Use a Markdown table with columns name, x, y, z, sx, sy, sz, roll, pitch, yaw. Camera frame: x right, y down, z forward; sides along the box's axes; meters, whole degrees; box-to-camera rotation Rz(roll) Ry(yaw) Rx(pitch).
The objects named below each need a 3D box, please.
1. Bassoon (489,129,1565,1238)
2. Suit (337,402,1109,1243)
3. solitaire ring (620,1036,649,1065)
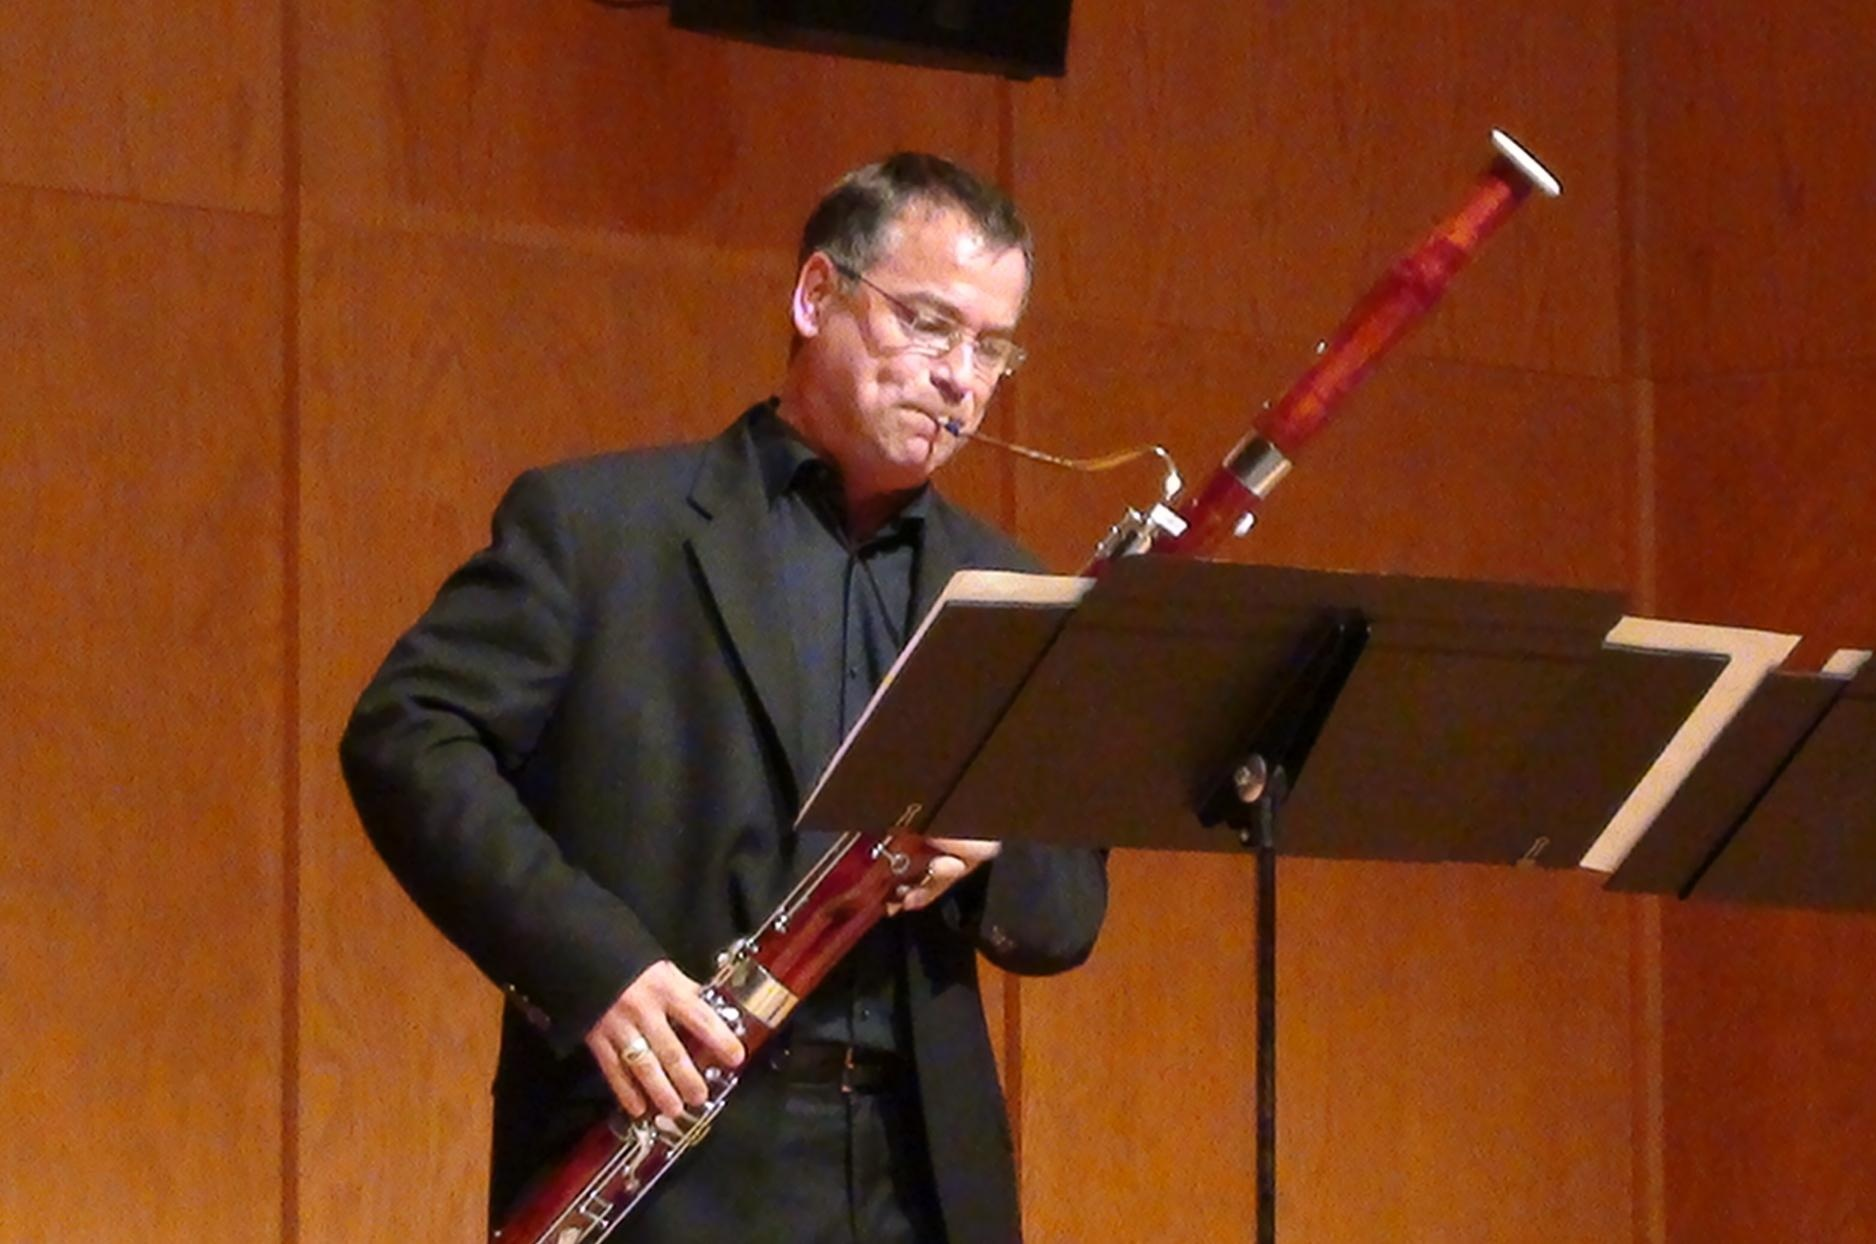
| name | x | y | z | sx | sy | sz | roll | pitch | yaw |
| --- | --- | --- | --- | --- | --- | --- | --- | --- | --- |
| Bassoon | 0.080 | 0.129 | 7.131 | 0.400 | 2.695 | 0.369 | 38 | 4 | 18 |
| Suit | -0.293 | 0.328 | 7.333 | 1.676 | 2.129 | 1.217 | 9 | -12 | -32 |
| solitaire ring | -0.548 | 0.780 | 6.585 | 0.046 | 0.052 | 0.020 | -19 | 1 | 8 |
